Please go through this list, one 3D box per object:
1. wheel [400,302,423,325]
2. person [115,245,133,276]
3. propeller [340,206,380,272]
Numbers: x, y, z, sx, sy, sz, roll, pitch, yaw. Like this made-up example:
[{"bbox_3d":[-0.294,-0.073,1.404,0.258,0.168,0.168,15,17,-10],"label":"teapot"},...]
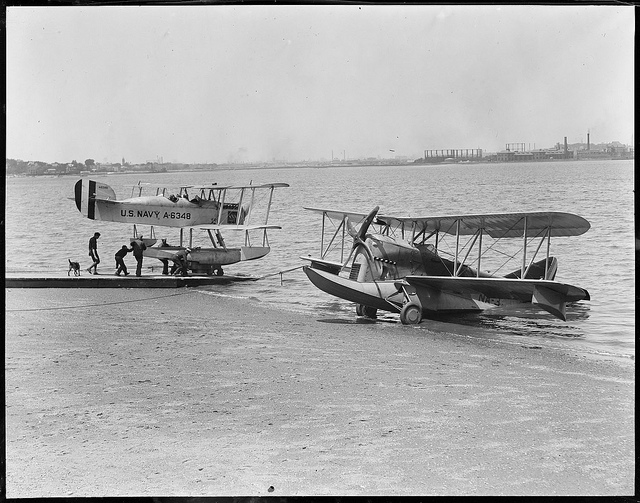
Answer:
[{"bbox_3d":[2.396,1.605,24.452,0.652,0.576,0.242,-3,4,-22],"label":"wheel"},{"bbox_3d":[-6.424,0.294,30.736,0.480,0.984,1.695,2,1,-12],"label":"person"},{"bbox_3d":[0.953,-0.300,24.562,0.300,1.912,1.841,28,-11,-24],"label":"propeller"}]
